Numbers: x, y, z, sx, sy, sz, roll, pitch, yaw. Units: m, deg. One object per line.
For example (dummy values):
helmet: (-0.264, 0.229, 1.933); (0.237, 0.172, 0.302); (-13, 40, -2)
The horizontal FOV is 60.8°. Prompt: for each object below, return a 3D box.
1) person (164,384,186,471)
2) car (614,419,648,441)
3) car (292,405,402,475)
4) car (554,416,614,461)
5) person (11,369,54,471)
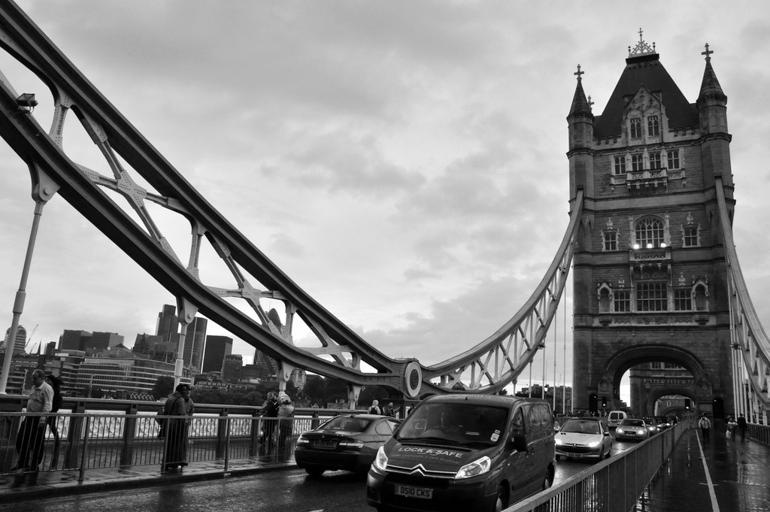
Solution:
person: (-5.662, 4.615, 17.822); (0.638, 2.255, 0.851); (8, -16, -17)
car: (13.706, 9.678, 36.462); (1.511, 1.272, 2.141); (-2, -16, 17)
car: (-1.105, 5.089, 18.061); (1.475, 0.957, 3.202); (-5, -11, 26)
car: (7.541, 6.920, 24.686); (1.469, 0.926, 2.659); (-8, -26, 21)
person: (-8.429, 3.933, 15.866); (0.591, 2.364, 1.260); (10, -17, -23)
